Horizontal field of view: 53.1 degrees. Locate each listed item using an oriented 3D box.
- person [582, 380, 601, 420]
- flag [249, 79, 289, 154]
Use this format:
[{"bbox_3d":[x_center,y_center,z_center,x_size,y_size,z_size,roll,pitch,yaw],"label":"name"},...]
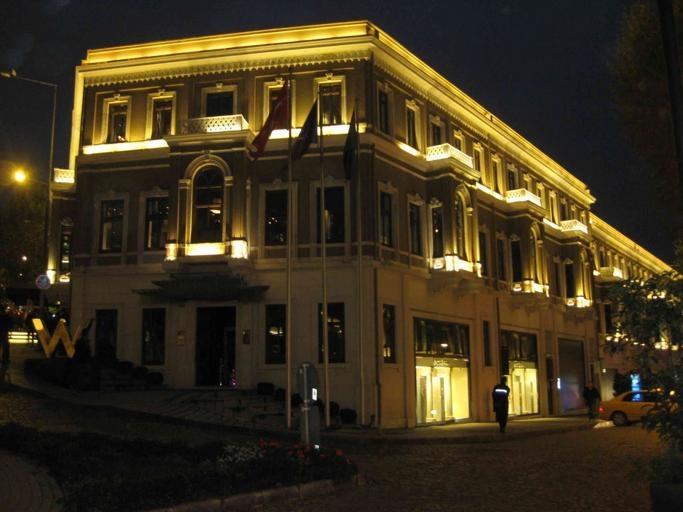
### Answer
[{"bbox_3d":[13.393,7.750,36.702,0.724,2.305,0.633,-3,17,17],"label":"person"},{"bbox_3d":[-2.852,-5.883,29.038,1.299,5.563,0.452,1,-43,4],"label":"flag"}]
